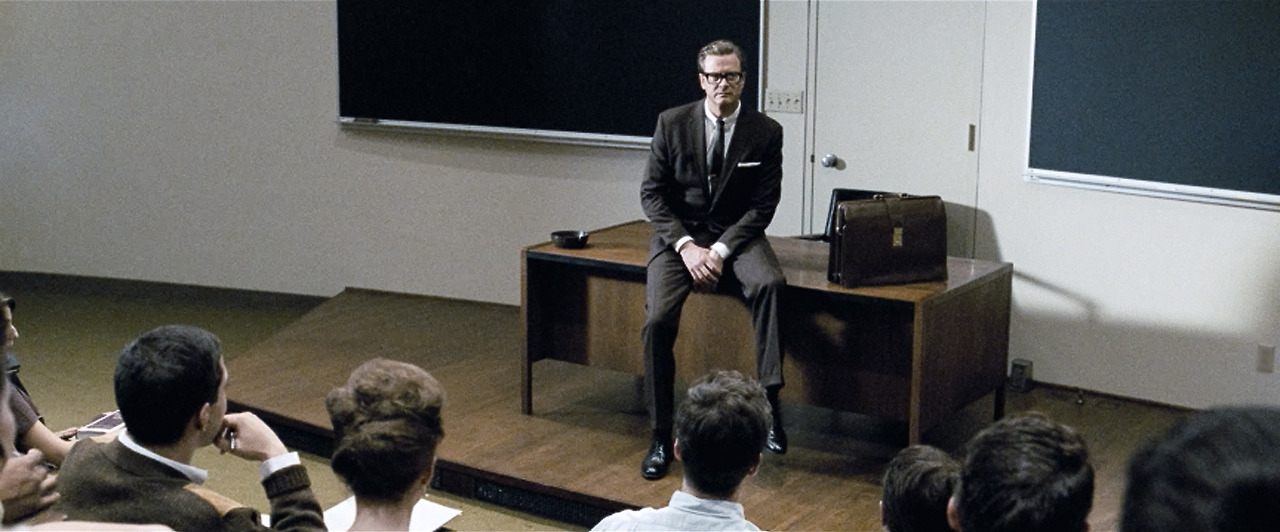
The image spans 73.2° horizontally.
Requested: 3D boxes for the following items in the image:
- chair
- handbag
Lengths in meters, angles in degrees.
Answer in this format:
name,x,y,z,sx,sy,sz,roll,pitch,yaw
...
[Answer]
name,x,y,z,sx,sy,sz,roll,pitch,yaw
chair,1.798,-0.527,7.699,1.015,0.468,0.877,2,-5,-17
handbag,1.824,-0.173,6.303,0.794,0.480,0.268,-2,6,-9
